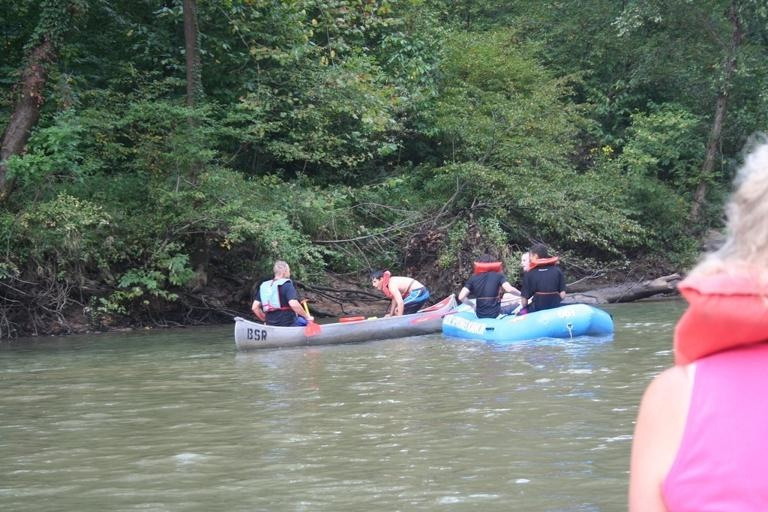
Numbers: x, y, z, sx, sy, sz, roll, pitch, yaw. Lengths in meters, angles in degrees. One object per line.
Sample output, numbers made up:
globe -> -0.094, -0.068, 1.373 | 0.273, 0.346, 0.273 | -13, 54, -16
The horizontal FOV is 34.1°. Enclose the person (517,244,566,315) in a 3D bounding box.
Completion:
person -> 4.465, 0.645, 36.380 | 1.262, 1.918, 1.576 | 0, -1, -18

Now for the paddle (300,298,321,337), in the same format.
paddle -> -2.210, 1.791, 36.207 | 0.547, 1.084, 0.193 | -20, -26, 0

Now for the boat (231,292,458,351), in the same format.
boat -> -0.990, 2.585, 37.955 | 8.557, 1.117, 1.457 | 4, 0, -41

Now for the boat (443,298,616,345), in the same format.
boat -> 4.256, 1.892, 37.128 | 3.551, 1.267, 4.174 | -2, -3, 7
